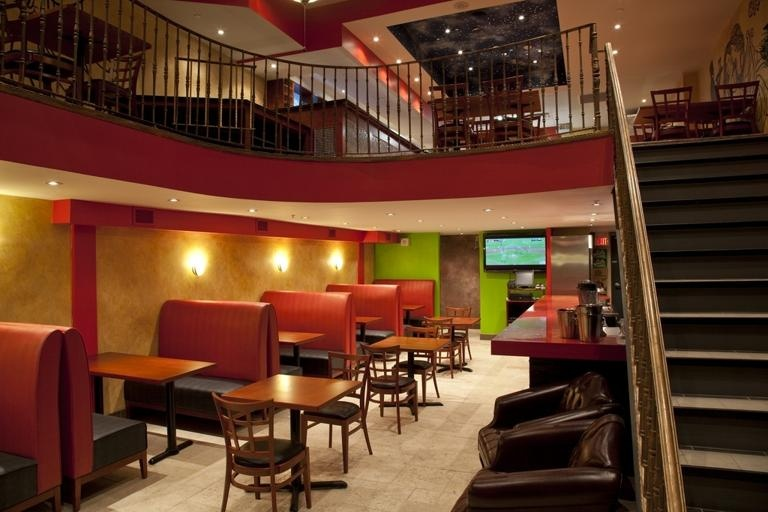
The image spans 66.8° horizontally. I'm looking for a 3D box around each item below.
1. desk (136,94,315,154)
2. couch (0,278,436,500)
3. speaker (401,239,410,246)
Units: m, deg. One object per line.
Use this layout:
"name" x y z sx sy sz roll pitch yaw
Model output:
"desk" -2.382 -2.161 9.528 2.212 0.869 2.756 11 16 40
"couch" -2.342 1.400 8.430 3.663 1.974 4.211 -1 12 -8
"speaker" 0.549 -0.353 15.281 0.189 0.179 0.193 -2 -6 28
